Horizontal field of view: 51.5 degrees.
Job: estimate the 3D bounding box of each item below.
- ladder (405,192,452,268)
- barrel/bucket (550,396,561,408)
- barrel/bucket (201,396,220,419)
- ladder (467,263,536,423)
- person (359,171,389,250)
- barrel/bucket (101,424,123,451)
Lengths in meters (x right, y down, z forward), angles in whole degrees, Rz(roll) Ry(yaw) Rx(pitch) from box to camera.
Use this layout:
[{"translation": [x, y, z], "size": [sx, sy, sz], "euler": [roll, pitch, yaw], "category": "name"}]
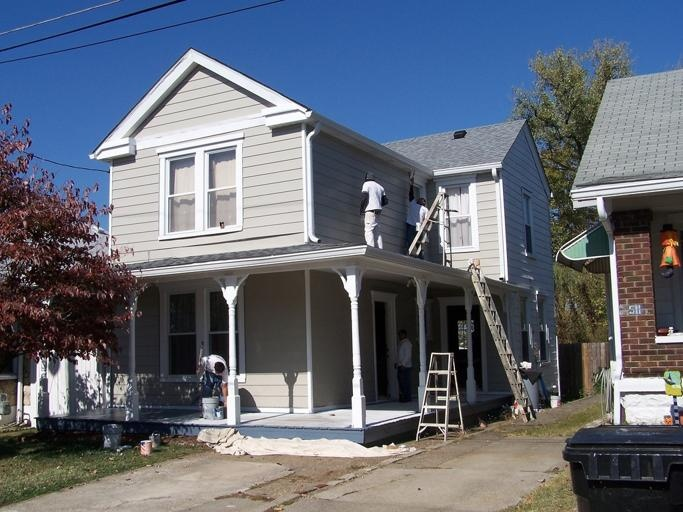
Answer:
[{"translation": [2.471, -0.709, 20.356], "size": [1.516, 2.387, 0.591], "euler": [-3, -50, 17], "category": "ladder"}, {"translation": [6.692, 4.587, 22.301], "size": [0.282, 0.400, 0.395], "euler": [-4, -7, 27], "category": "barrel/bucket"}, {"translation": [-2.935, 3.418, 15.959], "size": [0.393, 0.521, 0.355], "euler": [-3, -12, -4], "category": "barrel/bucket"}, {"translation": [4.129, 2.174, 18.284], "size": [0.638, 4.140, 1.835], "euler": [-14, -16, 42], "category": "ladder"}, {"translation": [0.807, -1.169, 17.740], "size": [0.597, 2.014, 0.458], "euler": [-3, -12, -3], "category": "person"}, {"translation": [-4.766, 3.761, 14.741], "size": [0.435, 0.528, 0.453], "euler": [1, -8, 0], "category": "barrel/bucket"}]
